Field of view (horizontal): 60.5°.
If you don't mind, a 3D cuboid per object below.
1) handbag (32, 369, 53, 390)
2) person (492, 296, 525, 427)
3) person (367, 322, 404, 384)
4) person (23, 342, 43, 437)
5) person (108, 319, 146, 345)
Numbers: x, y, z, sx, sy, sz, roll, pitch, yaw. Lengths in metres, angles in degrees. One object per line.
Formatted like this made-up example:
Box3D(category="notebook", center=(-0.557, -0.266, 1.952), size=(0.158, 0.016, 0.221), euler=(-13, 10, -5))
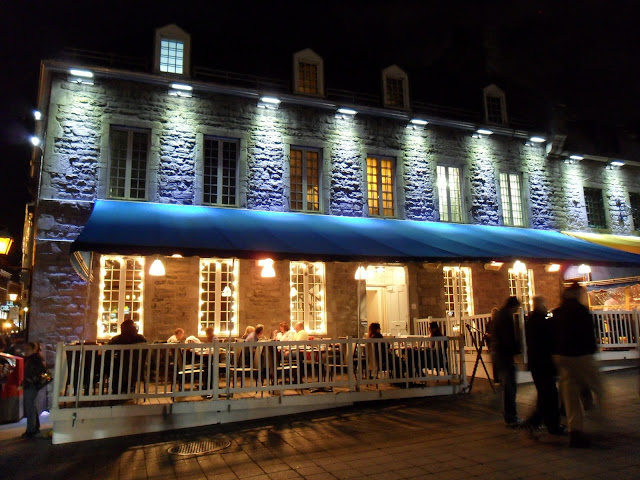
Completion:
Box3D(category="handbag", center=(-6.114, 3.114, 12.224), size=(0.306, 0.381, 0.141), euler=(27, -22, 1))
Box3D(category="person", center=(3.449, 2.216, 10.120), size=(0.540, 2.363, 0.585), euler=(-4, -1, 17))
Box3D(category="person", center=(1.520, 2.539, 12.776), size=(0.832, 1.336, 0.557), euler=(-9, 8, -30))
Box3D(category="person", center=(-6.282, 3.219, 12.076), size=(0.441, 1.432, 1.218), euler=(-4, -1, -27))
Box3D(category="person", center=(-4.054, 1.998, 11.619), size=(0.845, 0.744, 0.447), euler=(2, -4, -24))
